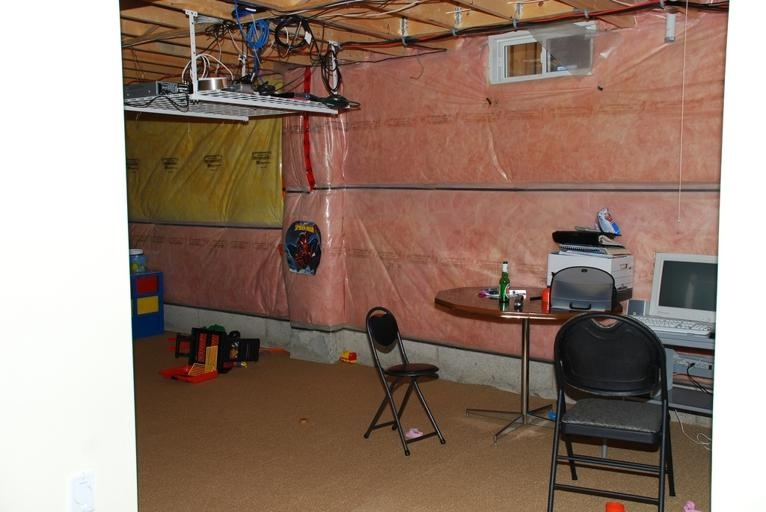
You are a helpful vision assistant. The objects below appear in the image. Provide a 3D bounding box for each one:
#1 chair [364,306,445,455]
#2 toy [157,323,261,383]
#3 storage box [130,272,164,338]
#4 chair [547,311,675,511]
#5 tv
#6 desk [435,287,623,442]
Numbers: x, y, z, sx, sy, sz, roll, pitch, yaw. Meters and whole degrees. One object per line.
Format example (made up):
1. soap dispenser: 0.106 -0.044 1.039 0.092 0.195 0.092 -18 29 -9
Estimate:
1. chair: 0.152 0.897 5.387 0.675 1.142 1.725 -2 9 -1
2. toy: -1.890 1.093 6.768 0.606 0.366 0.819 4 7 27
3. storage box: -3.255 0.674 8.206 0.250 0.881 0.554 2 10 18
4. chair: 1.559 0.946 4.008 0.811 1.421 1.339 2 10 21
5. tv: 2.301 0.259 4.575 0.514 0.478 0.054 5 -5 41
6. desk: 1.071 0.831 5.030 1.357 0.949 1.347 2 4 18
